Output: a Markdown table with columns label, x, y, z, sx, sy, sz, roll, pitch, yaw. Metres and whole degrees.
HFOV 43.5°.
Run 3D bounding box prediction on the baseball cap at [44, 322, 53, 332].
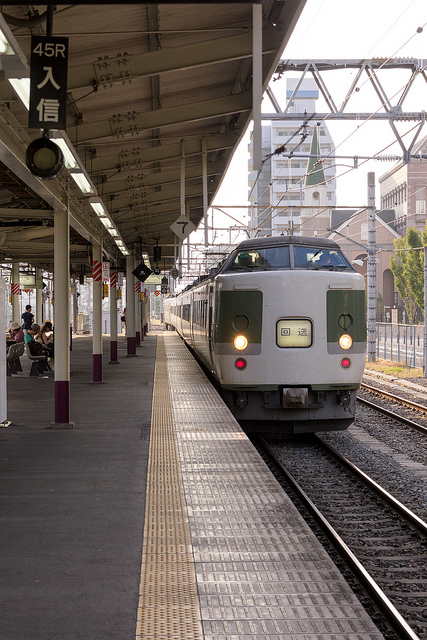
| label | x | y | z | sx | sy | sz | roll | pitch | yaw |
| --- | --- | --- | --- | --- | --- | --- | --- | --- | --- |
| baseball cap | -5.004 | 0.180 | 16.286 | 0.244 | 0.293 | 0.308 | 0 | -7 | -10 |

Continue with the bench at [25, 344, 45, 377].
| label | x | y | z | sx | sy | sz | roll | pitch | yaw |
| --- | --- | --- | --- | --- | --- | --- | --- | --- | --- |
| bench | -5.459 | 1.219 | 16.433 | 0.369 | 0.665 | 0.963 | -1 | 0 | -5 |

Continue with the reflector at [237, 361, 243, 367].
| label | x | y | z | sx | sy | sz | roll | pitch | yaw |
| --- | --- | --- | --- | --- | --- | --- | --- | --- | --- |
| reflector | 0.402 | 0.639 | 7.904 | 0.085 | 0.088 | 0.021 | -2 | -1 | 2 |

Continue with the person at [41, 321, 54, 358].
| label | x | y | z | sx | sy | sz | roll | pitch | yaw |
| --- | --- | --- | --- | --- | --- | --- | --- | --- | --- |
| person | -5.281 | 0.591 | 17.036 | 0.329 | 1.068 | 2.037 | -6 | 0 | -18 |

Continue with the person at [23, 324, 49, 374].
| label | x | y | z | sx | sy | sz | roll | pitch | yaw |
| --- | --- | --- | --- | --- | --- | --- | --- | --- | --- |
| person | -5.528 | 0.861 | 16.784 | 0.764 | 1.533 | 0.609 | -2 | 3 | -5 |

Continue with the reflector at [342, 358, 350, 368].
| label | x | y | z | sx | sy | sz | roll | pitch | yaw |
| --- | --- | --- | --- | --- | --- | --- | --- | --- | --- |
| reflector | 1.973 | 0.637 | 7.907 | 0.119 | 0.122 | 0.038 | 3 | 0 | -18 |

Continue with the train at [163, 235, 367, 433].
| label | x | y | z | sx | sy | sz | roll | pitch | yaw |
| --- | --- | --- | --- | --- | --- | --- | --- | --- | --- |
| train | 0.935 | 0.204 | 9.284 | 2.200 | 2.991 | 3.212 | -6 | 0 | -11 |
